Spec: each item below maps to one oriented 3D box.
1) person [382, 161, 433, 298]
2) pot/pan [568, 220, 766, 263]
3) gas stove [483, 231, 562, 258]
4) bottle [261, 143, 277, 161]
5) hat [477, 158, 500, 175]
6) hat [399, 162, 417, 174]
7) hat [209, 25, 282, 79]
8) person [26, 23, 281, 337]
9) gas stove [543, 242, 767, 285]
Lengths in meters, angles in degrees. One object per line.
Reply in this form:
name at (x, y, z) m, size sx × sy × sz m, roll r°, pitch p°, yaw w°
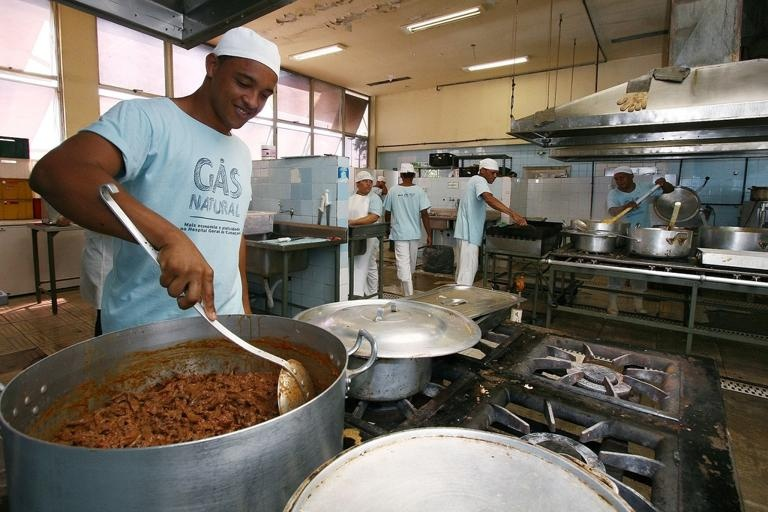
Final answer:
person at (0.302, -0.381, 6.315) m, size 0.601 × 1.664 × 0.936 m, roll 1°, pitch 8°, yaw 0°
pot/pan at (2.176, -0.132, 4.004) m, size 1.374 × 0.195 × 0.574 m, roll 3°, pitch 4°, yaw 43°
gas stove at (1.435, -0.112, 5.309) m, size 0.665 × 0.216 × 0.385 m, roll 1°, pitch 6°, yaw 6°
bottle at (-1.213, -1.087, 5.208) m, size 0.222 × 0.170 × 0.200 m, roll 0°, pitch 3°, yaw 1°
hat at (1.263, -1.084, 5.982) m, size 0.326 × 0.158 × 0.282 m, roll 7°, pitch 12°, yaw -9°
hat at (0.303, -1.165, 6.577) m, size 0.303 × 0.122 × 0.379 m, roll -1°, pitch 16°, yaw -1°
hat at (-0.498, -0.767, 1.844) m, size 0.238 × 0.104 × 0.206 m, roll 12°, pitch 21°, yaw -16°
person at (-0.770, -0.254, 1.726) m, size 0.685 × 1.122 × 0.785 m, roll 2°, pitch 8°, yaw 7°
gas stove at (2.125, 0.085, 3.993) m, size 1.575 × 0.190 × 0.377 m, roll 5°, pitch 8°, yaw 38°
